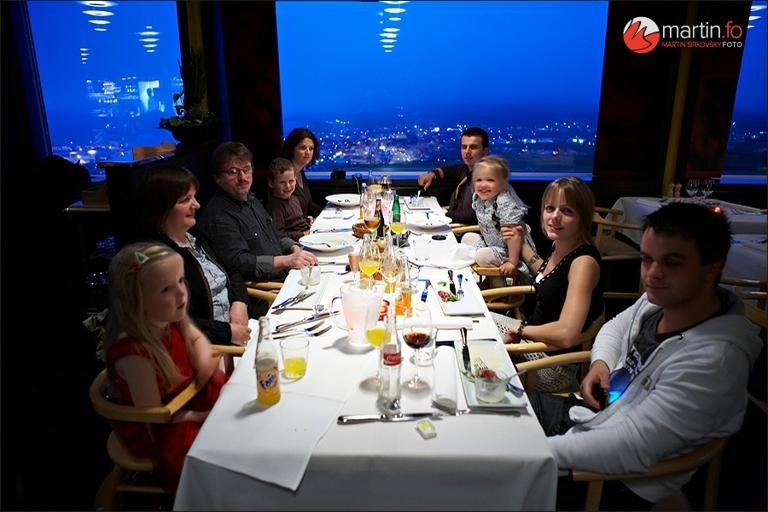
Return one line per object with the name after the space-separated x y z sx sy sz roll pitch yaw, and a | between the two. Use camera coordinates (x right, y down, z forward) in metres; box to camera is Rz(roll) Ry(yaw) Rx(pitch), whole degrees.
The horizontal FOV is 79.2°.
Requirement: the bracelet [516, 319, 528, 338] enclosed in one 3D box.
0.875 0.458 2.882 0.036 0.089 0.076 13 6 -14 | bracelet

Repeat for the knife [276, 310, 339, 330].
-0.427 0.366 2.635 0.322 0.032 0.060 -9 21 -21 | knife

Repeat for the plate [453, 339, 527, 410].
0.507 0.570 2.267 0.212 0.050 0.488 -1 25 -2 | plate

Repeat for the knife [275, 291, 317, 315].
-0.542 0.258 2.792 0.089 0.024 0.274 15 26 27 | knife

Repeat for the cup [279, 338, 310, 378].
-0.419 0.496 2.307 0.164 0.179 0.169 1 10 0 | cup

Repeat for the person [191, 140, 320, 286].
-1.093 -0.360 3.904 0.853 1.173 0.943 -2 21 2 | person

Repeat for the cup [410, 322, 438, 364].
0.204 0.428 2.356 0.169 0.194 0.200 5 30 9 | cup

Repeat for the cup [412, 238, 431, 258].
0.284 -0.057 3.482 0.140 0.168 0.169 1 5 3 | cup

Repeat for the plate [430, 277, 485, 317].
0.431 0.242 2.862 0.235 0.052 0.391 -2 39 -7 | plate

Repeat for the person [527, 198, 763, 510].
1.267 0.520 2.283 0.951 1.488 0.715 -12 22 -25 | person

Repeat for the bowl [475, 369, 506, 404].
0.504 0.615 2.193 0.163 0.116 0.157 2 5 0 | bowl

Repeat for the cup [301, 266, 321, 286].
-0.480 0.138 3.083 0.117 0.115 0.121 1 -1 0 | cup

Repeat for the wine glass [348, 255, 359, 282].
-0.195 0.082 3.069 0.081 0.202 0.082 -4 32 -4 | wine glass

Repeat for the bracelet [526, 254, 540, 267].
1.165 0.035 3.622 0.104 0.100 0.067 -20 50 10 | bracelet

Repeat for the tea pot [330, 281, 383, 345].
-0.082 0.307 2.487 0.262 0.278 0.289 -10 16 -43 | tea pot

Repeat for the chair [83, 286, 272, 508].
-0.983 0.857 2.728 0.871 1.155 0.941 -1 38 -1 | chair

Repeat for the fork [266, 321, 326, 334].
-0.478 0.397 2.549 0.314 0.055 0.055 -7 38 -8 | fork

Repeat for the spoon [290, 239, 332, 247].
-0.581 -0.103 3.782 0.454 0.058 0.079 1 3 32 | spoon

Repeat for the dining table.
-0.138 0.440 1.893 0.906 0.268 1.169 -1 22 -2 | dining table
